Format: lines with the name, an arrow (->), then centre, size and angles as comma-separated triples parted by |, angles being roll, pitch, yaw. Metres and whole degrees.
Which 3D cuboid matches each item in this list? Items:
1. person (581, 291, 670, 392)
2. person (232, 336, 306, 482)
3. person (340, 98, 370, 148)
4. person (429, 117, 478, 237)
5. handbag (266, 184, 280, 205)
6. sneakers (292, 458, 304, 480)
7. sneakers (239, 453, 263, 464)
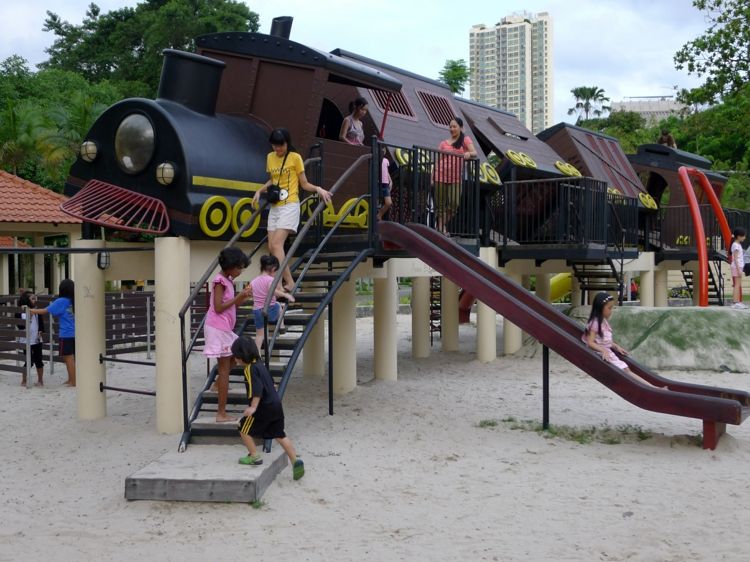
person -> 3.609, 0.832, 12.617 | 0.876, 1.236, 0.705 | -4, 7, -33
person -> -1.380, 1.680, 10.652 | 0.804, 1.893, 0.595 | -2, 6, -12
person -> -0.370, -2.833, 14.856 | 0.471, 0.863, 0.854 | -1, 6, -3
person -> 1.472, -1.915, 15.035 | 0.747, 2.100, 1.463 | 0, 6, 7
handbag -> -1.468, -1.299, 12.467 | 0.250, 0.329, 0.226 | 6, 28, -2
sneakers -> -0.965, 2.438, 10.679 | 0.134, 0.301, 0.125 | -1, 7, -34
sneakers -> -1.559, 2.278, 10.527 | 0.219, 0.103, 0.132 | 5, 1, 14
